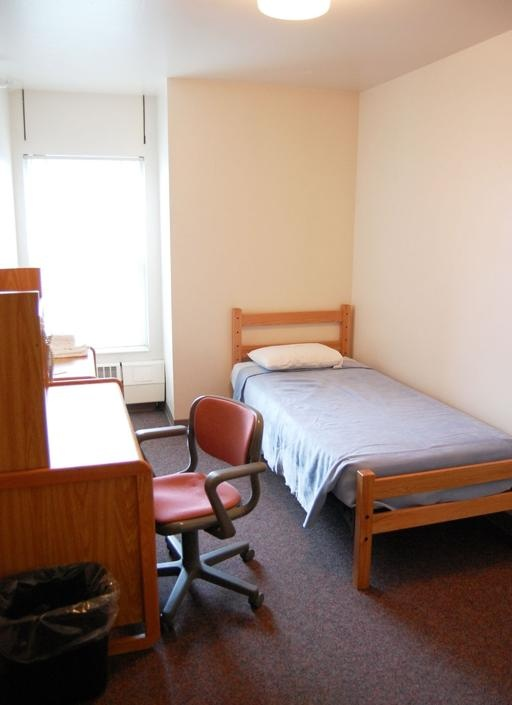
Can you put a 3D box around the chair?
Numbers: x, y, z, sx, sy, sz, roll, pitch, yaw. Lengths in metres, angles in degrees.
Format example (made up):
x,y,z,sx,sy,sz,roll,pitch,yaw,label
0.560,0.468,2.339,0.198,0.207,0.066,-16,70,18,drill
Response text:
x,y,z,sx,sy,sz,roll,pitch,yaw,label
-0.222,0.481,2.420,0.708,0.908,0.710,-7,13,-36,chair
